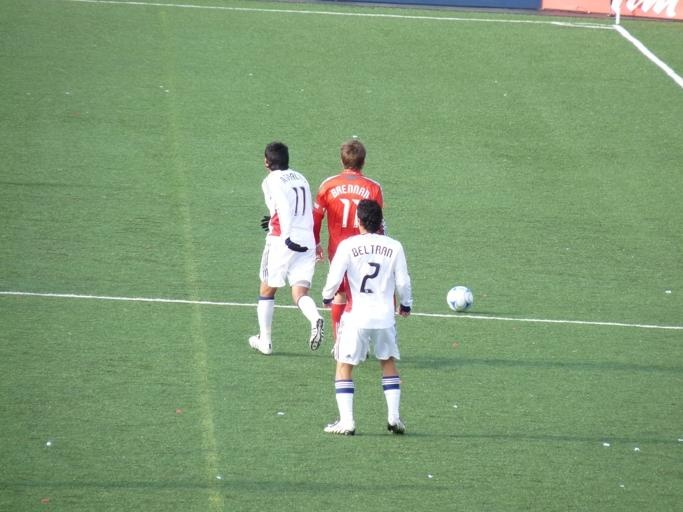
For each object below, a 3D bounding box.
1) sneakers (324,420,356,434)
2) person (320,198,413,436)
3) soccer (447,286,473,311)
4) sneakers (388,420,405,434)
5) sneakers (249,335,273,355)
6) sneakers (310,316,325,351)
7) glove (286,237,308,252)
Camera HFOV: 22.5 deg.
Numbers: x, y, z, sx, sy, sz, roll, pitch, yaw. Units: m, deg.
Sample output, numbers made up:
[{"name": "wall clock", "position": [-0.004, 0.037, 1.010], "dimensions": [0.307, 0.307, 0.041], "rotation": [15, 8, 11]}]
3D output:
[{"name": "sneakers", "position": [-0.016, 2.015, 20.091], "dimensions": [0.384, 0.160, 0.141], "rotation": [6, 8, 18]}, {"name": "person", "position": [0.306, 0.752, 20.372], "dimensions": [1.153, 2.729, 0.795], "rotation": [0, -1, -9]}, {"name": "soccer", "position": [1.563, 0.580, 22.590], "dimensions": [0.350, 0.356, 0.312], "rotation": [-8, 29, 1]}, {"name": "sneakers", "position": [0.639, 2.012, 20.079], "dimensions": [0.178, 0.098, 0.227], "rotation": [1, -6, 1]}, {"name": "sneakers", "position": [-1.037, 1.111, 21.468], "dimensions": [0.141, 0.165, 0.377], "rotation": [-18, 30, -38]}, {"name": "sneakers", "position": [-0.292, 0.955, 21.000], "dimensions": [0.153, 0.384, 0.184], "rotation": [11, 9, 1]}, {"name": "glove", "position": [-0.507, -0.128, 21.115], "dimensions": [0.339, 0.098, 0.133], "rotation": [8, -7, 6]}]
